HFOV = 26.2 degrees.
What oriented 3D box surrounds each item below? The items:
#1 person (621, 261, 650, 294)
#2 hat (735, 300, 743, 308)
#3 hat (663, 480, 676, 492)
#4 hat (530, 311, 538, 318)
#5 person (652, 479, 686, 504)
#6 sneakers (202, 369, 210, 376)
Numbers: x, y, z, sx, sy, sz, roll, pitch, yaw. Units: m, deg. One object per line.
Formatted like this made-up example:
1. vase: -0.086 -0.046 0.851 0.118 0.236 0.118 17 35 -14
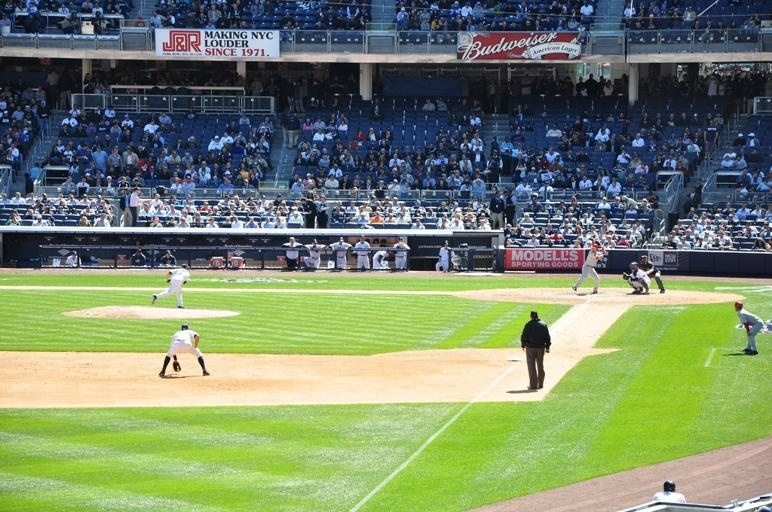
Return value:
1. person: 12.402 1.118 81.982 1.130 1.389 1.762 2 8 -11
2. hat: 14.741 2.056 69.253 0.314 0.339 0.393 0 -4 -6
3. hat: 9.823 8.006 57.634 0.543 0.442 0.398 -3 4 10
4. hat: 5.821 2.365 65.584 0.298 0.366 0.380 2 13 5
5. person: 9.782 8.212 57.799 0.845 0.430 1.131 4 -6 -4
6. sneakers: -7.329 4.745 67.268 0.136 0.254 0.383 6 14 34
